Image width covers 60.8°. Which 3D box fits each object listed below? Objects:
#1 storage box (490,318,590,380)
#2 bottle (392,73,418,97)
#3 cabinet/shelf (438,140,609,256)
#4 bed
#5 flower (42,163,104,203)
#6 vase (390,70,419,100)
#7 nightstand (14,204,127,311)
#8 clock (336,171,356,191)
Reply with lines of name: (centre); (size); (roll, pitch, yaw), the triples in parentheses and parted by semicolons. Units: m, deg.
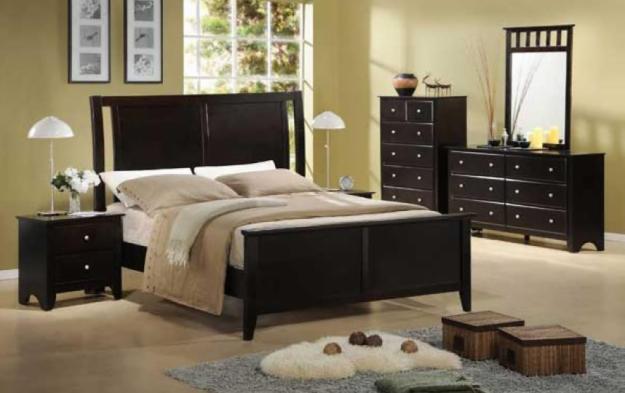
storage box: (1.472, 1.004, 3.445); (0.507, 0.196, 0.515); (-3, -8, 18)
bottle: (1.281, -1.541, 7.559); (0.347, 0.280, 0.340); (-2, 1, -18)
cabinet/shelf: (2.655, 0.000, 6.848); (0.634, 1.121, 1.889); (-10, 10, -30)
bed: (-0.434, -0.152, 5.101); (2.399, 1.794, 2.967); (-2, 8, -36)
flower: (-2.253, -0.105, 5.010); (0.363, 0.321, 0.363); (8, 16, 5)
vase: (1.298, -1.546, 7.453); (0.367, 0.301, 0.372); (2, 7, 38)
nightstand: (-2.363, 0.615, 4.998); (0.768, 0.815, 0.949); (-1, 0, 36)
clock: (0.360, -0.184, 6.095); (0.304, 0.269, 0.078); (2, -4, -9)
